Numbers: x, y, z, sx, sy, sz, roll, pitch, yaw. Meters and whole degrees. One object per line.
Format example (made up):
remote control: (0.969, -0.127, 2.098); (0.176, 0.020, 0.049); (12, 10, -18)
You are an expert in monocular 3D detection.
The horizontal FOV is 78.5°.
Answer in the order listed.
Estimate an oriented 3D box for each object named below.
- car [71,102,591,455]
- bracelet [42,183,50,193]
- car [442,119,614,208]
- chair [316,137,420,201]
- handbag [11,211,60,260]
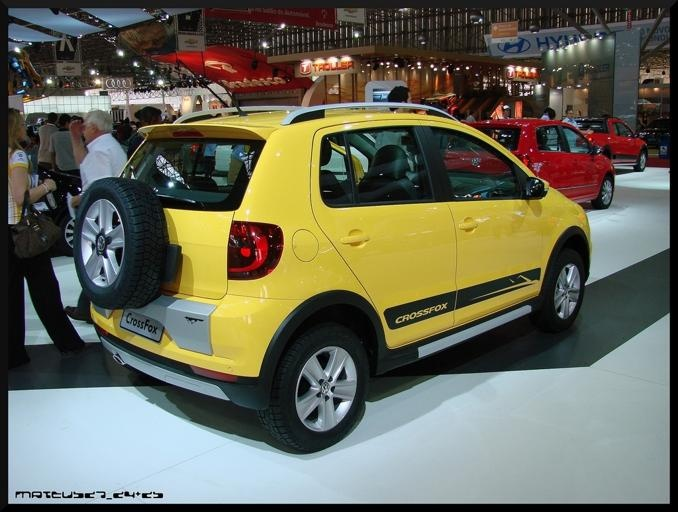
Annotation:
car: (0.089, -0.031, 3.176); (3.440, 2.218, 1.228); (-10, 16, -35)
bracelet: (-2.734, -0.641, 3.886); (0.066, 0.077, 0.030); (2, 4, 6)
car: (4.995, -2.211, 10.541); (4.744, 2.367, 2.724); (-10, 16, -32)
chair: (0.184, -0.587, 2.796); (0.659, 0.341, 0.411); (-12, 20, -31)
handbag: (-2.624, -0.196, 3.604); (0.336, 0.371, 0.237); (-12, 17, -40)
